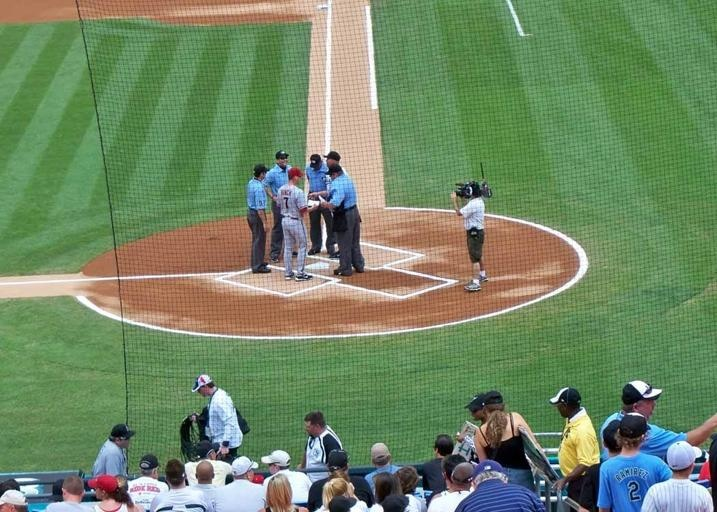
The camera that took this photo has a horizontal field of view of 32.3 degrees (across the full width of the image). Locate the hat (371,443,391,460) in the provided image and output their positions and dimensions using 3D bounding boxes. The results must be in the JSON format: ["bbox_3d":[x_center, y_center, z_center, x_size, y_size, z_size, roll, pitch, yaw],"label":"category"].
[{"bbox_3d":[0.315,2.826,18.054,0.217,0.140,0.298,-3,22,-1],"label":"hat"}]

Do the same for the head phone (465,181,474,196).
[{"bbox_3d":[2.179,-1.314,24.117,0.125,0.247,0.177,-3,-16,2],"label":"head phone"}]

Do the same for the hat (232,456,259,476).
[{"bbox_3d":[-1.613,3.024,17.790,0.231,0.172,0.353,17,30,33],"label":"hat"}]

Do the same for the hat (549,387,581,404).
[{"bbox_3d":[2.978,2.015,17.892,0.422,0.218,0.280,1,0,20],"label":"hat"}]

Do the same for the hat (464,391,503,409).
[{"bbox_3d":[1.843,2.110,18.132,0.421,0.170,0.274,-4,-4,1],"label":"hat"}]

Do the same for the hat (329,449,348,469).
[{"bbox_3d":[-0.287,2.909,17.705,0.274,0.268,0.230,-1,-16,-2],"label":"hat"}]

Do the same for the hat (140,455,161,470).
[{"bbox_3d":[-3.059,3.041,18.283,0.216,0.145,0.265,3,13,7],"label":"hat"}]

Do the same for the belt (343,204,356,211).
[{"bbox_3d":[-0.148,-0.977,24.983,0.140,0.094,0.134,-7,8,-43],"label":"belt"}]

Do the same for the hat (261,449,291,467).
[{"bbox_3d":[-1.214,3.000,18.286,0.405,0.178,0.240,4,30,10],"label":"hat"}]

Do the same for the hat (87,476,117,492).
[{"bbox_3d":[-3.467,3.131,17.024,0.335,0.225,0.235,-3,-16,2],"label":"hat"}]

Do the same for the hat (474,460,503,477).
[{"bbox_3d":[1.763,2.872,16.835,0.370,0.224,0.439,-2,-16,1],"label":"hat"}]

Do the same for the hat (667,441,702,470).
[{"bbox_3d":[4.307,2.600,16.461,0.348,0.264,0.537,9,28,31],"label":"hat"}]

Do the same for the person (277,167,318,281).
[{"bbox_3d":[-1.276,-0.623,25.086,0.619,2.074,1.518,-1,-16,-2],"label":"person"}]

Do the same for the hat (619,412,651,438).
[{"bbox_3d":[3.699,2.276,16.679,0.380,0.355,0.214,-4,-17,9],"label":"hat"}]

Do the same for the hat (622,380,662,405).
[{"bbox_3d":[4.081,1.955,17.890,0.525,0.244,0.315,-11,14,4],"label":"hat"}]

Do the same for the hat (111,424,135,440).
[{"bbox_3d":[-3.627,2.724,19.144,0.341,0.165,0.221,-1,22,-12],"label":"hat"}]
